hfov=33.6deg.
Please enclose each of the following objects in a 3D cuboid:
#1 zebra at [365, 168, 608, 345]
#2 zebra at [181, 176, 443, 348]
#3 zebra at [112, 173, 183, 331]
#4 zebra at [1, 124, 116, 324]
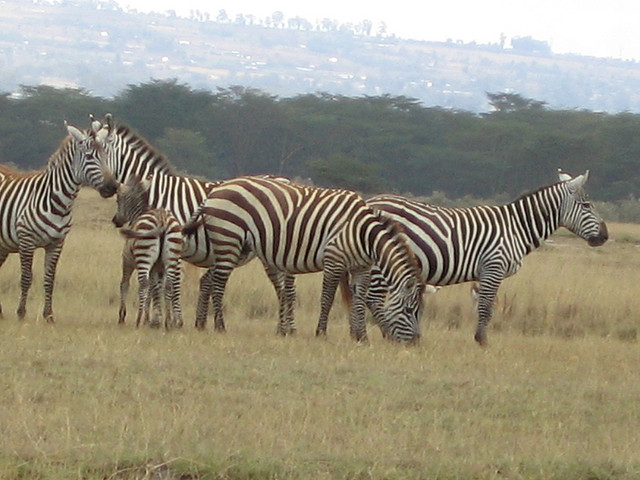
[{"bbox_3d":[3.391,0.447,22.309,5.156,3.578,1.470,-2,14,-3],"label":"zebra"},{"bbox_3d":[-0.205,0.459,21.560,4.638,3.106,1.065,6,11,13],"label":"zebra"},{"bbox_3d":[-3.529,0.285,21.780,1.097,3.009,1.802,-4,13,-32],"label":"zebra"},{"bbox_3d":[-5.586,-0.366,22.034,2.403,4.011,0.865,5,11,11],"label":"zebra"}]
